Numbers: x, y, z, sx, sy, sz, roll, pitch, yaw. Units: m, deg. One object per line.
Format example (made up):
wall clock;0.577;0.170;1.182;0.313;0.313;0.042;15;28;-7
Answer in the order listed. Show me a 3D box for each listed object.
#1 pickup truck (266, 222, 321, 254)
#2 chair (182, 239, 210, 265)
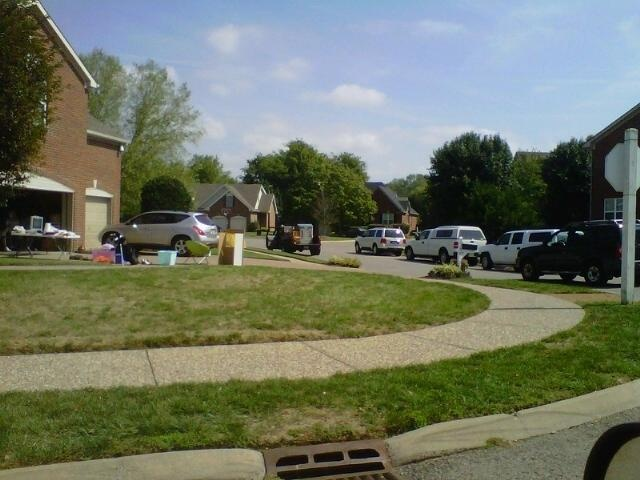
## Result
pickup truck;-1.499;-0.351;33.990;2.223;1.492;4.173;7;3;4
chair;-3.755;0.505;19.923;0.948;0.917;0.951;-4;15;-24
